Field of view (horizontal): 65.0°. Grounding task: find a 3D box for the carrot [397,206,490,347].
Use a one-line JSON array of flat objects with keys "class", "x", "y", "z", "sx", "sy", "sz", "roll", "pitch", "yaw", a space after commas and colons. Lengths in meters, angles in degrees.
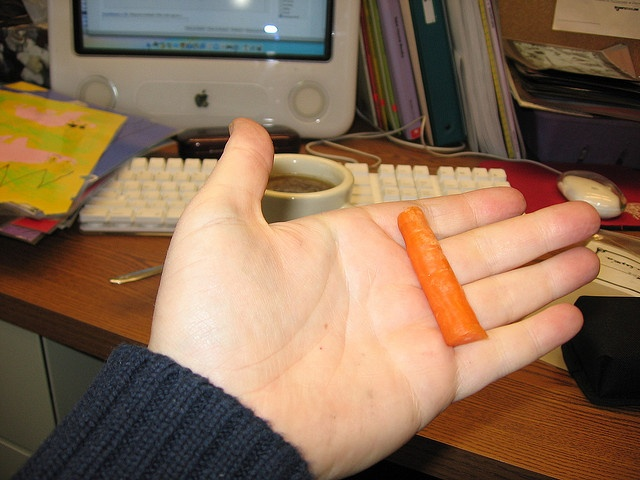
[{"class": "carrot", "x": 0.177, "y": 0.045, "z": 0.731, "sx": 0.069, "sy": 0.057, "sz": 0.214, "roll": -18, "pitch": 68, "yaw": 7}]
